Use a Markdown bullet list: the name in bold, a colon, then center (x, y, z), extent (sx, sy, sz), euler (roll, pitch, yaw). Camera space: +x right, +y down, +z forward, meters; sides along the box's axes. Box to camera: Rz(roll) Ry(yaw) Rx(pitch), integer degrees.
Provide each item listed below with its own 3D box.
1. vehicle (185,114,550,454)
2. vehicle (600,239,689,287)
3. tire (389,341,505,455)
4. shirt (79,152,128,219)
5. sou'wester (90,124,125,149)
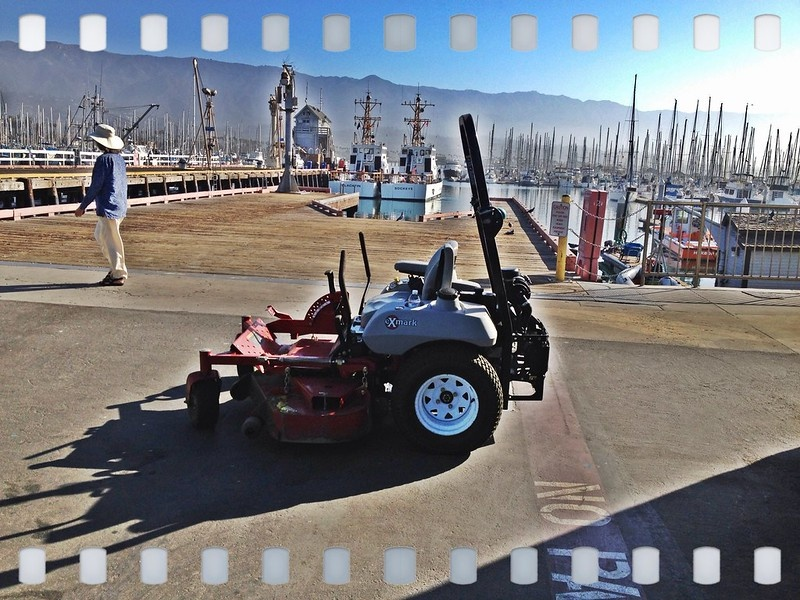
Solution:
- **vehicle**: center (-0.045, -0.214, 5.827), extent (2.942, 2.716, 2.168), euler (2, 5, 3)
- **vehicle**: center (8.534, -1.320, 22.254), extent (1.972, 1.551, 3.603), euler (-1, 13, 1)
- **tire**: center (0.330, 0.722, 4.753), extent (0.549, 0.573, 0.199), euler (-36, 4, 7)
- **shirt**: center (-4.185, -1.608, 9.000), extent (0.709, 0.916, 0.401), euler (-13, 20, -40)
- **sou'wester**: center (-4.183, -2.302, 9.058), extent (0.347, 0.386, 0.700), euler (-6, 18, -21)
